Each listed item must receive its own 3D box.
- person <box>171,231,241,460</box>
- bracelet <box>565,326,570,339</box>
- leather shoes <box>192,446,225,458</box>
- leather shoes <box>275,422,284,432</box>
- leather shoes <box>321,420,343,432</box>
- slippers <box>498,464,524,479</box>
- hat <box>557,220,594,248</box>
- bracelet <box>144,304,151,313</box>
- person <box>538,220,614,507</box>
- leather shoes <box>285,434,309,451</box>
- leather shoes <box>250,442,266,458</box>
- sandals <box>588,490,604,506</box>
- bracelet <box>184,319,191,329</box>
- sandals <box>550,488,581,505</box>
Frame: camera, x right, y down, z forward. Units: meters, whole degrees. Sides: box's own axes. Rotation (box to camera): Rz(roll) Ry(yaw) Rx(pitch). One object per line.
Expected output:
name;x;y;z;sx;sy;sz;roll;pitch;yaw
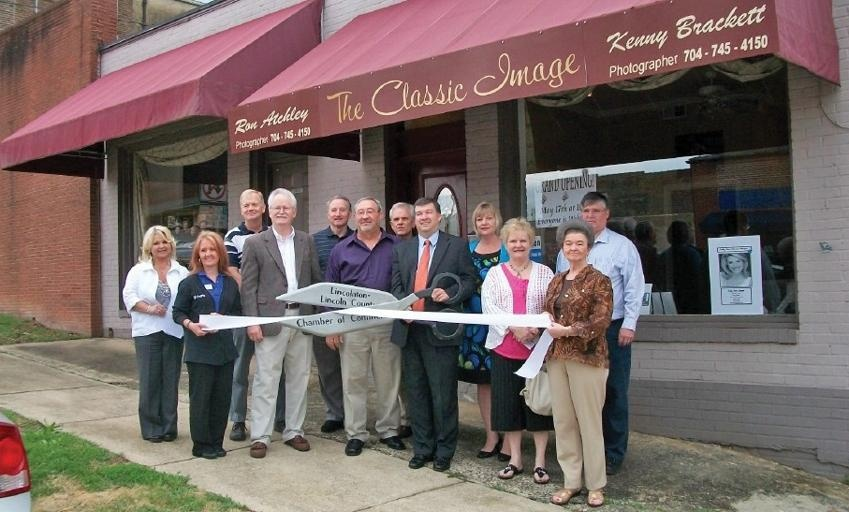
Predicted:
person;-2.740;1.112;9.725;0.721;2.729;0.815;2;11;7
bracelet;1.597;0.856;8.618;0.075;0.083;0.082;11;33;13
leather shoes;-2.690;2.460;9.656;0.297;0.118;0.171;-1;-1;5
leather shoes;-1.952;2.331;10.471;0.142;0.123;0.210;0;-13;-16
leather shoes;-1.239;2.323;10.495;0.320;0.129;0.125;9;-13;-35
slippers;1.010;2.594;9.266;0.268;0.097;0.139;8;-11;-36
hat;1.706;-0.264;8.837;0.336;0.255;0.343;-2;-8;20
bracelet;-3.551;0.679;10.003;0.082;0.086;0.066;6;12;24
person;1.738;1.217;8.812;0.778;3.153;0.758;2;11;8
leather shoes;-1.620;2.404;9.919;0.344;0.136;0.158;-1;0;42
leather shoes;-2.077;2.436;9.689;0.192;0.162;0.163;-1;11;-10
sandals;1.930;2.757;8.763;0.115;0.090;0.230;6;-5;-8
bracelet;-2.904;0.839;9.528;0.093;0.065;0.092;1;6;-17
sandals;1.646;2.754;8.886;0.383;0.157;0.140;4;23;-32
